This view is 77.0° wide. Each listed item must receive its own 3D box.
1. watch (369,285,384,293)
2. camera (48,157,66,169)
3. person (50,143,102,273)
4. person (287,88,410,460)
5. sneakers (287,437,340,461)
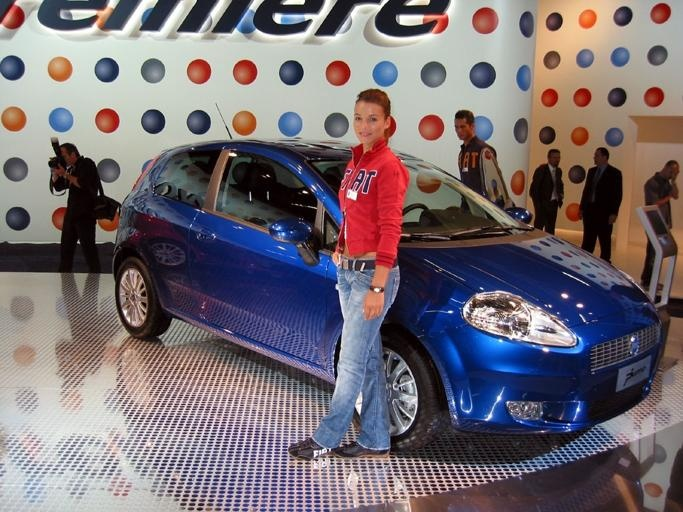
[{"bbox_3d":[0.147,0.131,1.774,0.059,0.030,0.026,1,11,1],"label":"watch"},{"bbox_3d":[-3.789,-1.248,5.679,0.155,0.072,0.170,11,7,36],"label":"camera"},{"bbox_3d":[-3.535,-0.640,5.668,0.680,1.699,0.637,-1,11,-8],"label":"person"},{"bbox_3d":[0.061,0.141,1.960,0.445,1.735,0.305,5,12,24],"label":"person"},{"bbox_3d":[-0.162,0.948,2.098,0.188,0.085,0.106,6,15,-1],"label":"sneakers"}]
